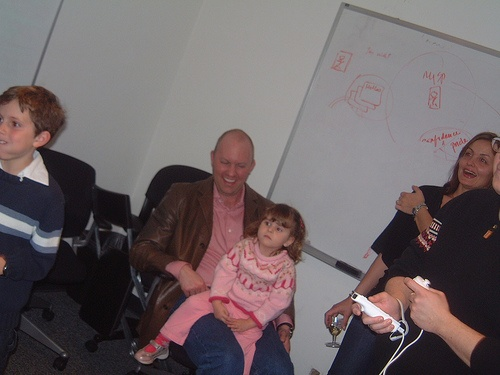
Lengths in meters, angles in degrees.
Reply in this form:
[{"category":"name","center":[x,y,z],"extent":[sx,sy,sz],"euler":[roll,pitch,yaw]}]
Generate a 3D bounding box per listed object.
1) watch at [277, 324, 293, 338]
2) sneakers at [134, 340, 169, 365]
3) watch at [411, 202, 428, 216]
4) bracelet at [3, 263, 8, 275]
[{"category":"watch","center":[0.221,0.870,2.247],"extent":[0.069,0.034,0.083],"euler":[5,-4,-15]},{"category":"sneakers","center":[-0.538,0.921,2.097],"extent":[0.205,0.106,0.097],"euler":[3,36,-46]},{"category":"watch","center":[1.033,0.131,2.263],"extent":[0.022,0.078,0.076],"euler":[35,34,15]},{"category":"bracelet","center":[-1.116,0.379,1.685],"extent":[0.009,0.040,0.036],"euler":[10,11,28]}]
